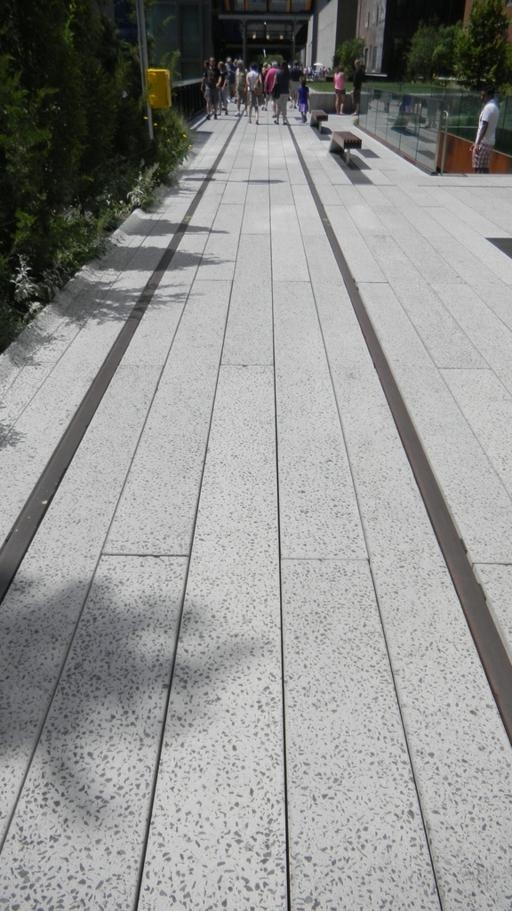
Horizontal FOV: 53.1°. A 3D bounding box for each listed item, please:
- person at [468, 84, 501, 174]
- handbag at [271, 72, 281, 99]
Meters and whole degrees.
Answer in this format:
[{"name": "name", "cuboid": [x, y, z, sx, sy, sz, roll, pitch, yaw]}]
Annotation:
[{"name": "person", "cuboid": [5.665, -7.976, 12.565, 0.475, 1.775, 2.245, 10, 30, 19]}, {"name": "handbag", "cuboid": [0.884, -15.494, 21.422, 0.222, 0.947, 0.855, -6, 29, -16]}]
